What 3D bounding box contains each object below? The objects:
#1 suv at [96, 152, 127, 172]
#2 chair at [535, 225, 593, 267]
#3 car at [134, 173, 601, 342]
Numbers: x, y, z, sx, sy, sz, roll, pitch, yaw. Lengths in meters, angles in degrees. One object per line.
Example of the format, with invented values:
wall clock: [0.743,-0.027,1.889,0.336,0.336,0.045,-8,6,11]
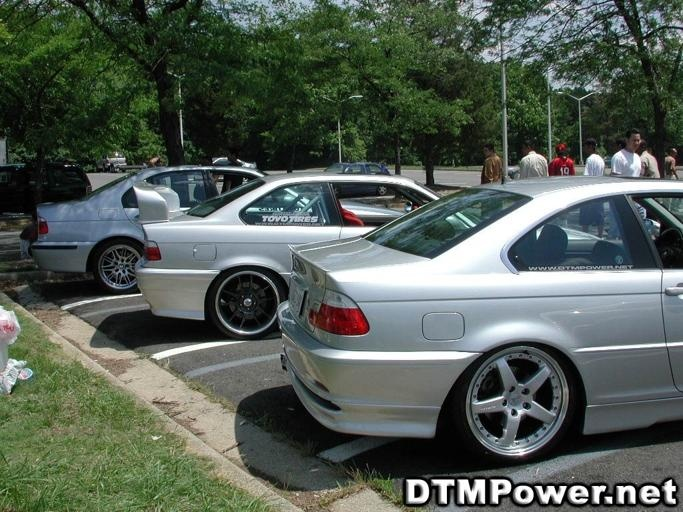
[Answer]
suv: [-25.660,-10.457,58.325,4.147,1.786,2.167,-11,15,-38]
chair: [1.474,-0.080,3.476,0.426,0.235,0.396,-1,7,5]
car: [-0.494,-0.257,6.472,3.884,1.207,1.711,-6,9,-14]
